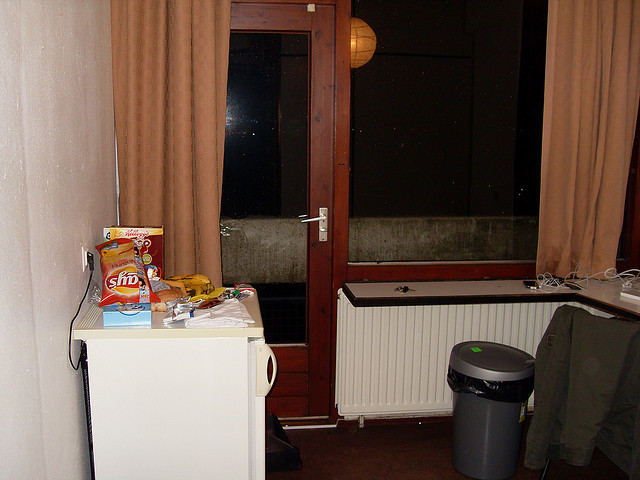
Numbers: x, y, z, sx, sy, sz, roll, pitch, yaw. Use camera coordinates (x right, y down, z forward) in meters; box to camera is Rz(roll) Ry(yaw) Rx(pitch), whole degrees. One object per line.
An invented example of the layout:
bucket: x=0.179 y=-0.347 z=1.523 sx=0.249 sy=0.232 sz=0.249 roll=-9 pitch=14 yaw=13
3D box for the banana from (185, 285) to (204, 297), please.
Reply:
banana: x=-0.589 y=0.240 z=2.667 sx=0.044 sy=0.043 sz=0.065 roll=-1 pitch=3 yaw=0

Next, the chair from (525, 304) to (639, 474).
chair: x=1.211 y=0.709 z=2.585 sx=0.441 sy=0.761 sz=0.284 roll=6 pitch=13 yaw=27

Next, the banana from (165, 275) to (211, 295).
banana: x=-0.628 y=0.212 z=2.729 sx=0.143 sy=0.058 sz=0.113 roll=3 pitch=-1 yaw=-8

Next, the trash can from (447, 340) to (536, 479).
trash can: x=0.837 y=0.870 z=3.180 sx=0.537 sy=0.770 sz=0.561 roll=-3 pitch=10 yaw=-6
